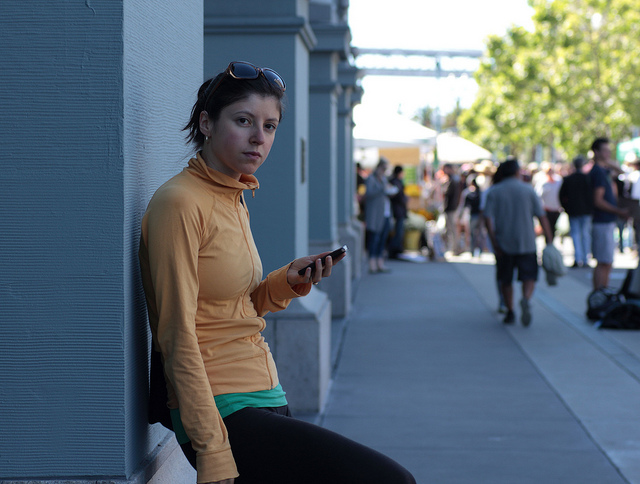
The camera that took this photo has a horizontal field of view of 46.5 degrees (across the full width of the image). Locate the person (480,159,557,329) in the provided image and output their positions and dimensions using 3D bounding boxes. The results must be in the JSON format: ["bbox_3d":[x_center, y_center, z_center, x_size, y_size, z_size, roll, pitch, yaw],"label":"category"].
[{"bbox_3d":[2.416,0.007,9.160,0.803,2.043,0.687,0,4,14],"label":"person"}]

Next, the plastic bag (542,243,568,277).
[{"bbox_3d":[2.998,0.220,9.560,0.272,0.434,0.277,1,4,19],"label":"plastic bag"}]
